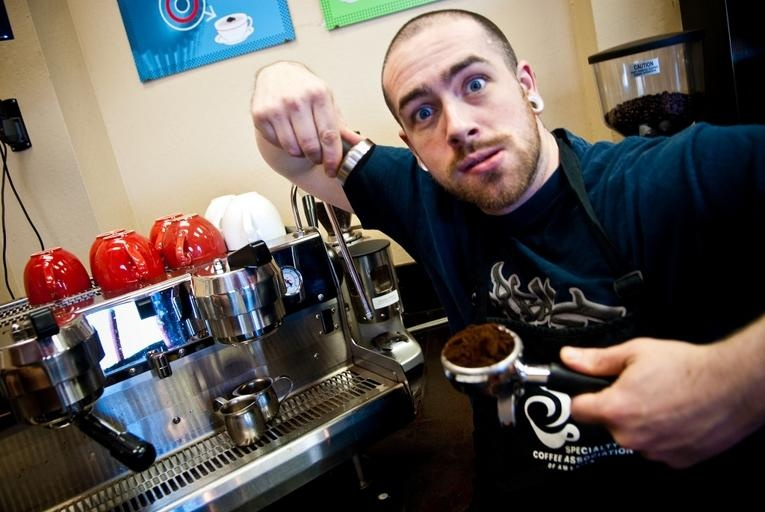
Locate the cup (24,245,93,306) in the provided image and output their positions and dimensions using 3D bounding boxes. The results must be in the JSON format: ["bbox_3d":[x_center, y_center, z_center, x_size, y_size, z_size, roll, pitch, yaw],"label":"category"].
[{"bbox_3d":[-1.071,0.055,1.753,0.205,0.155,0.173,4,23,38],"label":"cup"}]

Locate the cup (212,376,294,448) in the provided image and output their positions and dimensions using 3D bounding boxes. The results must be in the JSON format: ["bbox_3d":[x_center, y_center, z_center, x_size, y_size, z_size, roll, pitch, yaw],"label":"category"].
[{"bbox_3d":[-0.414,0.474,1.739,0.138,0.157,0.228,-4,19,28],"label":"cup"}]
